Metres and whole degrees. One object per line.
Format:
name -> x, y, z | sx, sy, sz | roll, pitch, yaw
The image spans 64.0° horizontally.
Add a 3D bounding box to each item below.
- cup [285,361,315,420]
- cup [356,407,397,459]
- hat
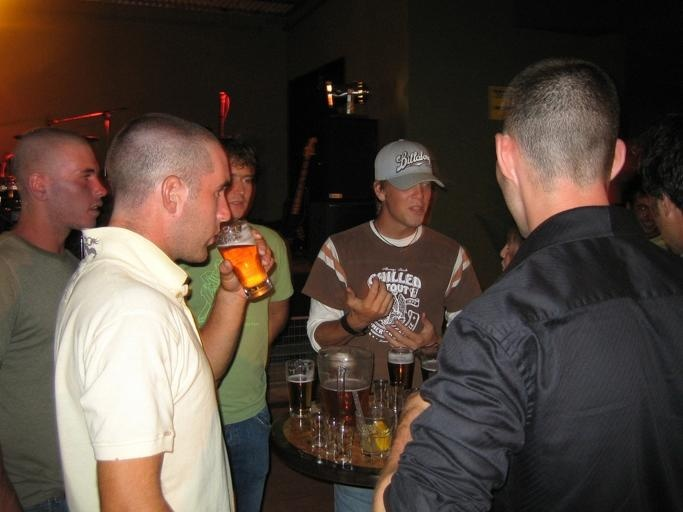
cup -> -0.164, 0.516, 2.169 | 0.100, 0.235, 0.158 | 0, 5, -6
cup -> 0.121, 0.606, 1.900 | 0.131, 0.151, 0.140 | -1, 2, 0
hat -> 0.325, -0.461, 2.725 | 0.292, 0.219, 0.417 | -5, 18, -5
